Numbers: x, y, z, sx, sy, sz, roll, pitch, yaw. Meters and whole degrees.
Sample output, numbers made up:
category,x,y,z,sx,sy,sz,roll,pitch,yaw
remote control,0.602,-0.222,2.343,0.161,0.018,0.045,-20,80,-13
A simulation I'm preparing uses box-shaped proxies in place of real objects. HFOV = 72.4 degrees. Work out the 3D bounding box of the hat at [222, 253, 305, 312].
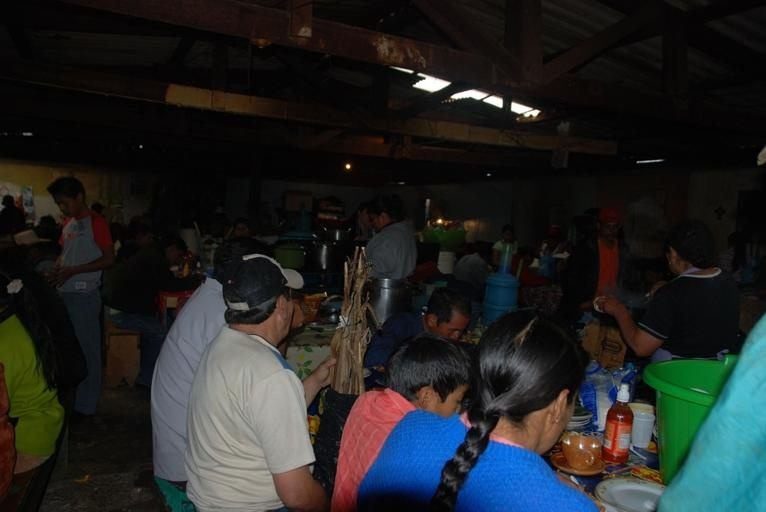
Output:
category,x,y,z,sx,sy,sz,roll,pitch,yaw
hat,-0.623,0.156,2.731,0.240,0.214,0.343,19,34,42

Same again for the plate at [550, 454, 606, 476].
category,x,y,z,sx,sy,sz,roll,pitch,yaw
plate,0.957,1.028,2.560,0.235,0.053,0.255,1,3,-3

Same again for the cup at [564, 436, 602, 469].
category,x,y,z,sx,sy,sz,roll,pitch,yaw
cup,1.000,0.980,2.615,0.146,0.110,0.151,1,-5,0

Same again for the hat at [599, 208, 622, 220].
category,x,y,z,sx,sy,sz,roll,pitch,yaw
hat,2.177,-0.409,5.017,0.118,0.121,0.144,4,7,-10

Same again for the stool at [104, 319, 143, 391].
category,x,y,z,sx,sy,sz,roll,pitch,yaw
stool,-3.112,1.211,6.049,0.595,0.765,0.582,0,-11,-27
